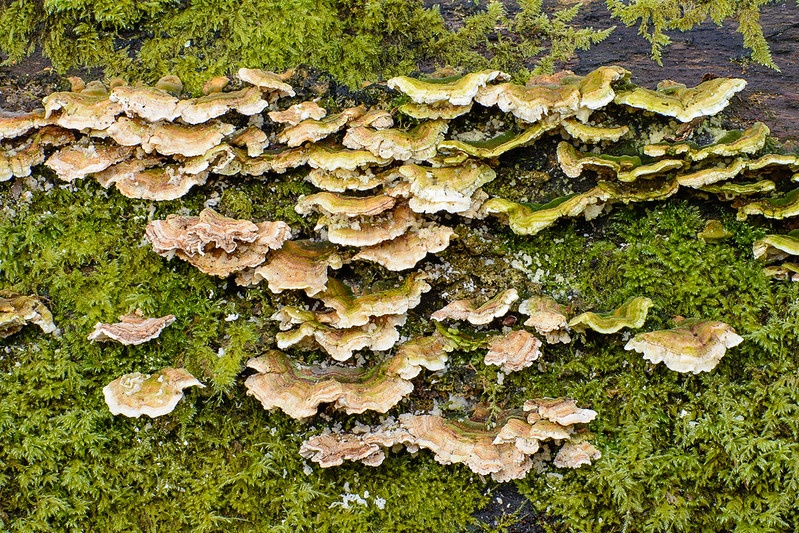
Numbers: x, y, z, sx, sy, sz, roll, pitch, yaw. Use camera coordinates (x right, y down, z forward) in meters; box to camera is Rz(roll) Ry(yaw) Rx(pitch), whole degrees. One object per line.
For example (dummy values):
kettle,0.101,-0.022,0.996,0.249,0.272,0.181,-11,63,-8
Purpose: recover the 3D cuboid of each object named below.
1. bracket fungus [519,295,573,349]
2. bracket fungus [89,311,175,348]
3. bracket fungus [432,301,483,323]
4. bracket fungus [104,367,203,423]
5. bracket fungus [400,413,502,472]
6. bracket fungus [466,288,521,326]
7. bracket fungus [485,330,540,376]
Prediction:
bracket fungus,1.560,0.555,9.696,0.177,0.576,0.587,-39,6,-33
bracket fungus,-2.889,0.662,9.533,0.507,0.195,0.445,3,16,-35
bracket fungus,0.616,0.483,9.742,0.341,0.099,0.266,-25,28,-38
bracket fungus,-2.697,1.330,9.515,1.020,0.258,0.986,2,25,15
bracket fungus,0.591,1.900,9.581,1.023,0.181,0.489,22,45,26
bracket fungus,1.009,0.433,9.787,0.574,0.145,0.604,-10,28,30
bracket fungus,1.221,0.932,9.715,0.620,0.150,0.625,-11,38,6
